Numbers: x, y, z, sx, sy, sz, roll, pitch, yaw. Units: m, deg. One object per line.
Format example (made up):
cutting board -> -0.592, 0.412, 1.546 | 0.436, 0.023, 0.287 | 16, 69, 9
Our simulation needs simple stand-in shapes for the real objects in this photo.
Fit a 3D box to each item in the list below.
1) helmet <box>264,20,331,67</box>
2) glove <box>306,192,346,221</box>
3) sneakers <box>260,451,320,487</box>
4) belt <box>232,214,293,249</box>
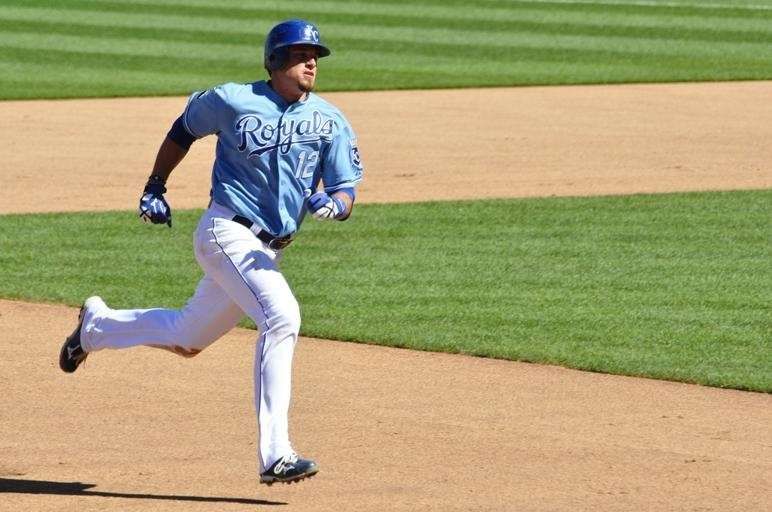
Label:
helmet -> -0.773, -1.826, 11.440 | 0.529, 0.221, 0.362 | -10, -5, 21
glove -> -0.477, -0.407, 11.199 | 0.310, 0.133, 0.228 | 18, 2, 38
sneakers -> -0.774, 1.722, 10.986 | 0.582, 0.241, 0.185 | -14, 19, 13
belt -> -1.028, -0.202, 11.319 | 0.398, 0.107, 0.307 | 23, 8, 5
